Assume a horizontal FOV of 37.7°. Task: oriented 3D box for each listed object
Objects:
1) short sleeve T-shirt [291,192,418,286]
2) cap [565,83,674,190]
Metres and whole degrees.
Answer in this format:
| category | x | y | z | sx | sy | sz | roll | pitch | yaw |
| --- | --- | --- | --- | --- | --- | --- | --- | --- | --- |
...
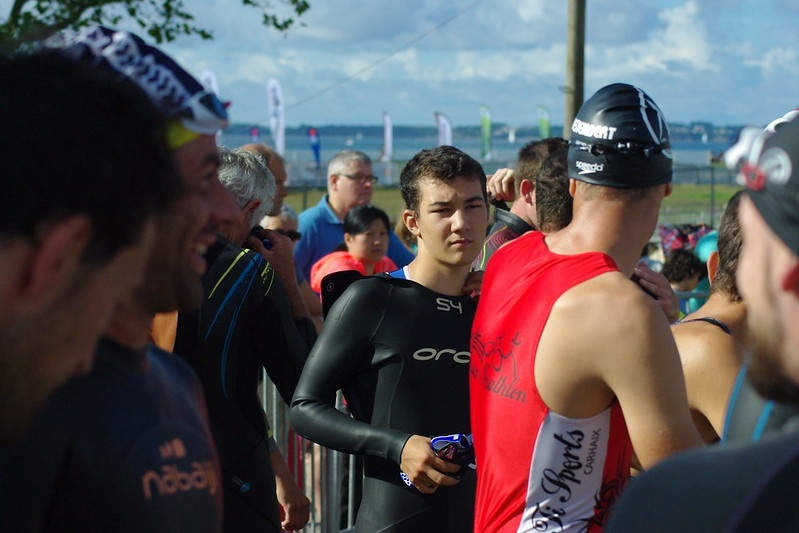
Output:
| category | x | y | z | sx | sy | sz | roll | pitch | yaw |
| --- | --- | --- | --- | --- | --- | --- | --- | --- | --- |
| short sleeve T-shirt | -0.280 | -0.155 | 7.141 | 0.689 | 0.472 | 0.182 | 0 | -12 | -25 |
| cap | 0.750 | -0.420 | 3.981 | 0.330 | 0.438 | 0.497 | 3 | 35 | 10 |
